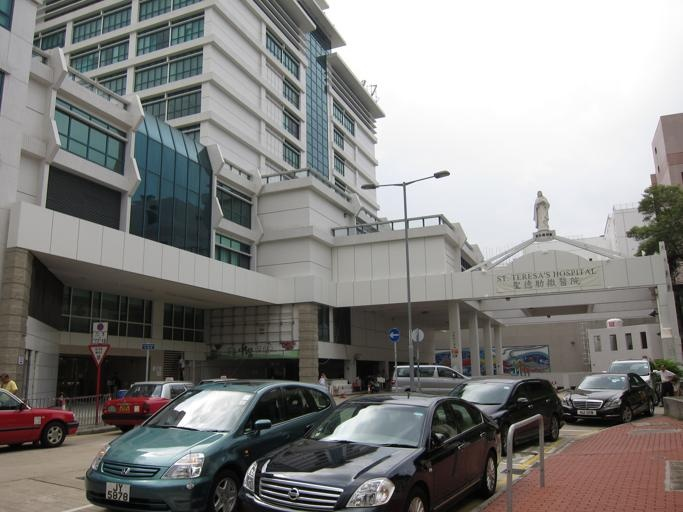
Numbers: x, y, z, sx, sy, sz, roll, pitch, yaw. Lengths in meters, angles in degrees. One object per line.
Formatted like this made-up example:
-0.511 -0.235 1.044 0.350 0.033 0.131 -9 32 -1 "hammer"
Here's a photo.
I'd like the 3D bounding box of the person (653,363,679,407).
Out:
14.037 5.618 22.683 0.644 1.001 2.056 -22 -21 17 "person"
